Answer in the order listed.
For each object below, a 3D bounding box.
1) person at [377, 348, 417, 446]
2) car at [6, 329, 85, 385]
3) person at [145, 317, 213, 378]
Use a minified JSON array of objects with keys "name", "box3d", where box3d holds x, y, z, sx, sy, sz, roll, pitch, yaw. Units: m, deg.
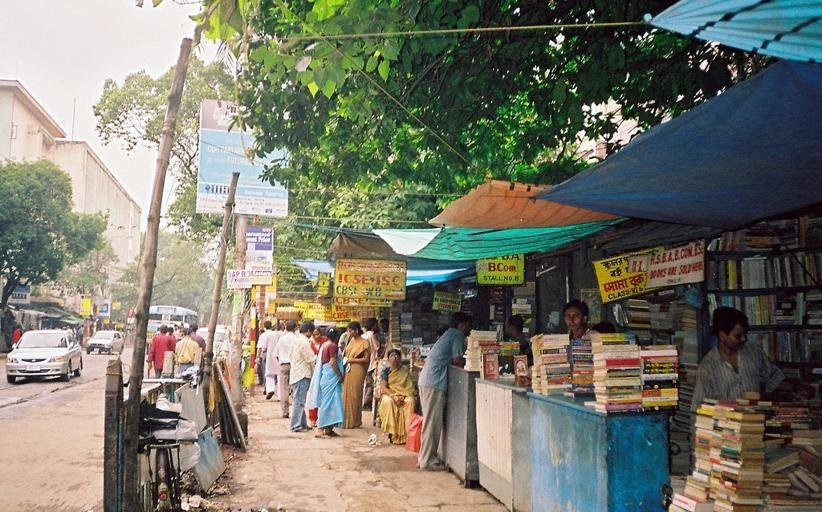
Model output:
[{"name":"person","box3d":[-0.270,2.883,14.088,0.768,1.785,0.734,0,0,10]},{"name":"car","box3d":[-12.744,3.551,24.008,1.667,1.587,3.061,0,-2,-11]},{"name":"person","box3d":[-6.697,2.713,19.749,1.233,1.107,1.411,0,-1,-29]}]
